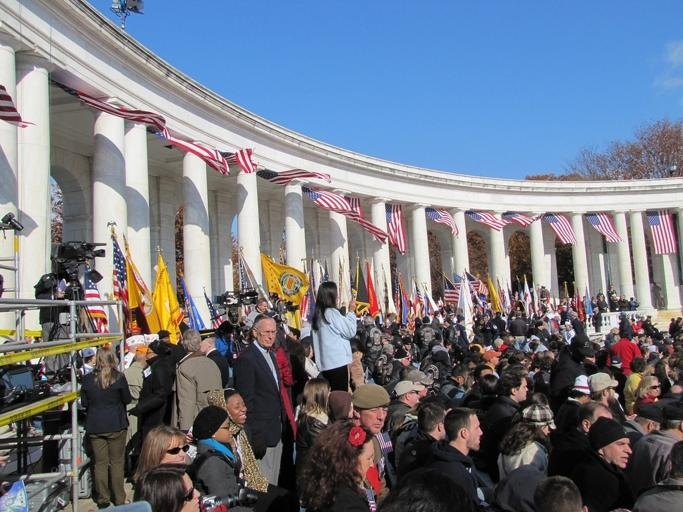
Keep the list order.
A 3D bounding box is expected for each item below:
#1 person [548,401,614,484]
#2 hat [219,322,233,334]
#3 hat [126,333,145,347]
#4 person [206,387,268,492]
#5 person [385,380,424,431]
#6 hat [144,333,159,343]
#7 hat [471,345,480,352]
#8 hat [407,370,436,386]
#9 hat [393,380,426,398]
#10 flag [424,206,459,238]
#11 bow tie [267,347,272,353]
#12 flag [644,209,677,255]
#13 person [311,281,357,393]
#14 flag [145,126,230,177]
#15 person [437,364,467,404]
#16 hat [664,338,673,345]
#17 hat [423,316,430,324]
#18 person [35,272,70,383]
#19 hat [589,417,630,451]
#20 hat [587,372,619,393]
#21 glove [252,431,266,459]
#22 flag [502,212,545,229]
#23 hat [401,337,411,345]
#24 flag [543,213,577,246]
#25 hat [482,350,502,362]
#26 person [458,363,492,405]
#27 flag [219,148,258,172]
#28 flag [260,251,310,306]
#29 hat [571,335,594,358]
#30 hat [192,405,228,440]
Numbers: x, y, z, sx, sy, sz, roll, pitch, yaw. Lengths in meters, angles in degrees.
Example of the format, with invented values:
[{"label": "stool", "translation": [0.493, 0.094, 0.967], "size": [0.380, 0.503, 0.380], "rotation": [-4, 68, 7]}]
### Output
[{"label": "person", "translation": [3.288, 2.562, 8.269], "size": [0.693, 1.133, 1.299], "rotation": [6, -10, 19]}, {"label": "hat", "translation": [-2.621, 1.614, 13.397], "size": [0.263, 0.259, 0.243], "rotation": [-22, -3, 43]}, {"label": "hat", "translation": [-4.551, 1.865, 13.179], "size": [0.296, 0.328, 0.382], "rotation": [2, 2, -29]}, {"label": "person", "translation": [-1.538, 2.694, 8.717], "size": [0.894, 1.446, 0.642], "rotation": [-3, 16, 28]}, {"label": "person", "translation": [1.108, 2.609, 10.311], "size": [0.419, 0.870, 0.497], "rotation": [21, -12, -16]}, {"label": "hat", "translation": [-4.336, 1.859, 13.536], "size": [0.303, 0.278, 0.360], "rotation": [-2, -14, 7]}, {"label": "hat", "translation": [3.513, 2.446, 15.848], "size": [0.241, 0.124, 0.243], "rotation": [0, -3, -16]}, {"label": "hat", "translation": [1.523, 2.387, 11.319], "size": [0.537, 0.214, 0.345], "rotation": [11, -2, -25]}, {"label": "hat", "translation": [1.203, 2.362, 10.528], "size": [0.464, 0.182, 0.296], "rotation": [-3, 0, -26]}, {"label": "flag", "translation": [7.266, -2.515, 43.328], "size": [1.971, 2.713, 5.322], "rotation": [-6, -8, 12]}, {"label": "bow tie", "translation": [-1.220, 1.582, 10.043], "size": [0.053, 0.083, 0.039], "rotation": [7, -2, 44]}, {"label": "flag", "translation": [25.508, -2.053, 47.769], "size": [1.558, 3.921, 4.046], "rotation": [-9, -9, 28]}, {"label": "person", "translation": [-0.166, 1.480, 11.085], "size": [0.834, 2.007, 0.555], "rotation": [-5, -8, 3]}, {"label": "flag", "translation": [-6.808, -4.710, 25.776], "size": [2.097, 1.731, 4.381], "rotation": [-8, -9, 19]}, {"label": "person", "translation": [2.225, 2.489, 11.669], "size": [0.485, 0.833, 0.606], "rotation": [14, -10, -9]}, {"label": "hat", "translation": [11.235, 2.943, 20.630], "size": [0.351, 0.190, 0.456], "rotation": [1, -6, 4]}, {"label": "hat", "translation": [3.621, 2.768, 25.641], "size": [0.353, 0.292, 0.373], "rotation": [1, -2, 0]}, {"label": "person", "translation": [-5.956, 1.365, 12.664], "size": [0.690, 2.167, 0.683], "rotation": [-15, 22, -31]}, {"label": "hat", "translation": [3.572, 2.401, 8.023], "size": [0.411, 0.431, 0.403], "rotation": [-6, -23, 20]}, {"label": "hat", "translation": [4.671, 2.223, 10.685], "size": [0.412, 0.231, 0.285], "rotation": [-18, 2, -29]}, {"label": "glove", "translation": [-1.325, 2.982, 9.481], "size": [0.129, 0.393, 0.280], "rotation": [-9, 3, 15]}, {"label": "flag", "translation": [14.495, -2.933, 47.555], "size": [2.079, 0.737, 2.104], "rotation": [-9, 23, -23]}, {"label": "hat", "translation": [2.194, 2.916, 20.550], "size": [0.267, 0.240, 0.270], "rotation": [-7, -11, 37]}, {"label": "flag", "translation": [16.551, -2.030, 45.224], "size": [1.771, 2.243, 1.258], "rotation": [1, -10, -35]}, {"label": "hat", "translation": [3.860, 2.558, 15.359], "size": [0.519, 0.210, 0.333], "rotation": [-5, 7, -33]}, {"label": "person", "translation": [2.492, 2.636, 11.268], "size": [0.488, 0.970, 1.066], "rotation": [4, -7, 7]}, {"label": "flag", "translation": [-4.862, -4.640, 28.373], "size": [1.393, 1.549, 0.506], "rotation": [9, 40, 16]}, {"label": "flag", "translation": [-2.422, 0.983, 25.069], "size": [1.929, 2.608, 0.399], "rotation": [-5, 2, -42]}, {"label": "hat", "translation": [5.243, 1.999, 13.081], "size": [0.464, 0.552, 0.439], "rotation": [-6, -8, 5]}, {"label": "hat", "translation": [-1.757, 2.220, 7.890], "size": [0.420, 0.462, 0.345], "rotation": [32, -10, -9]}]
